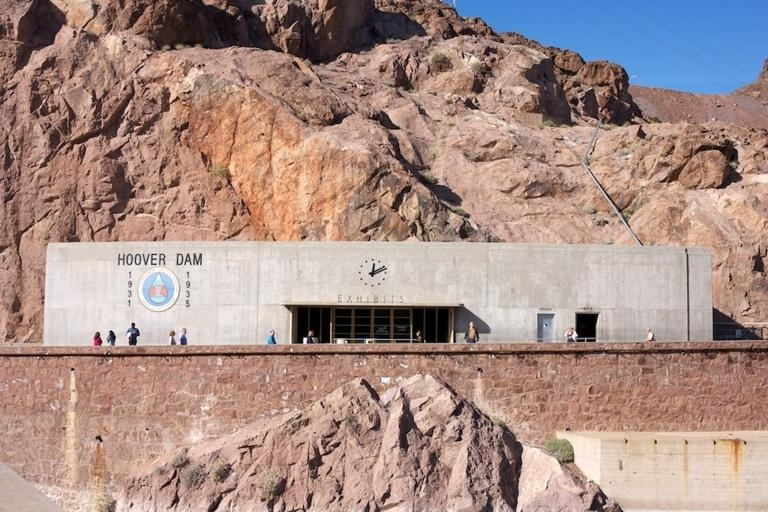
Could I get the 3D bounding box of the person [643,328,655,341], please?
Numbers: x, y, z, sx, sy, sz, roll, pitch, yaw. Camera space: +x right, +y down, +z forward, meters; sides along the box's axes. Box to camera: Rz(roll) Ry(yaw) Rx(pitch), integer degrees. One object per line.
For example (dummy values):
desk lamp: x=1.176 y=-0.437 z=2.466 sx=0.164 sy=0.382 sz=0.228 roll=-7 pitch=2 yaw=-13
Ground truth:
person: x=19.911 y=5.872 z=153.357 sx=0.660 sy=1.310 sz=0.975 roll=-2 pitch=1 yaw=-34

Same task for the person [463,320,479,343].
person: x=6.416 y=5.574 z=152.878 sx=1.098 sy=1.477 sz=2.112 roll=6 pitch=24 yaw=3

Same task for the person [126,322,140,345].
person: x=-19.147 y=5.656 z=152.794 sx=1.159 sy=0.997 sz=2.838 roll=-4 pitch=25 yaw=-13

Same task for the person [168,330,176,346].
person: x=-16.103 y=6.021 z=152.930 sx=0.505 sy=1.165 sz=1.663 roll=1 pitch=24 yaw=-9

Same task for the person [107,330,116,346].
person: x=-20.716 y=6.040 z=152.518 sx=0.707 sy=1.565 sz=0.845 roll=2 pitch=-15 yaw=-6
